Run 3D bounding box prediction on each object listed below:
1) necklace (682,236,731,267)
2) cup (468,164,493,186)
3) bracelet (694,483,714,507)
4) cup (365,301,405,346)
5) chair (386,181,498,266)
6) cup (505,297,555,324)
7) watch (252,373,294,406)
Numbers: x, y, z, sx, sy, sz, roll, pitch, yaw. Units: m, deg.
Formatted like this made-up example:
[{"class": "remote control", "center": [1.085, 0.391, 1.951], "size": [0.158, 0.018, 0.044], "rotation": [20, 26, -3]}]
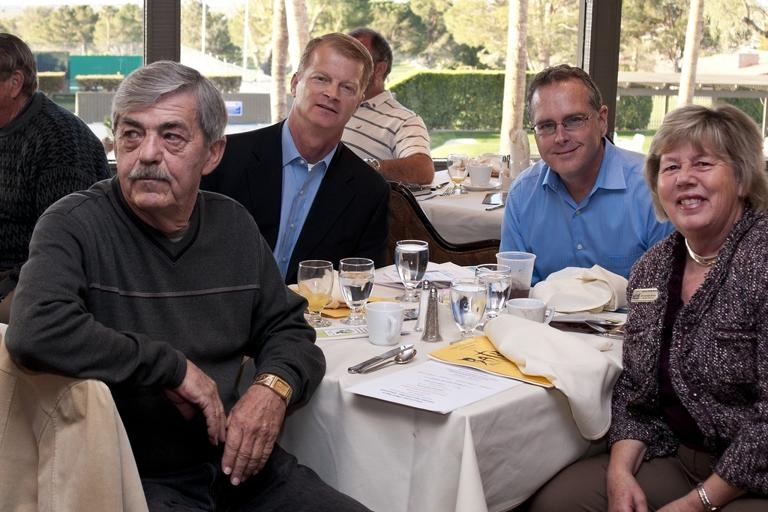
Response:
[{"class": "necklace", "center": [1.013, -0.013, 1.857], "size": [0.075, 0.017, 0.076], "rotation": [26, -15, 15]}, {"class": "cup", "center": [0.734, -0.605, 4.377], "size": [0.167, 0.135, 0.159], "rotation": [-3, 5, 0]}, {"class": "bracelet", "center": [0.881, 0.657, 1.609], "size": [0.037, 0.051, 0.056], "rotation": [-26, 36, -1]}, {"class": "cup", "center": [0.004, 0.212, 1.849], "size": [0.110, 0.099, 0.134], "rotation": [-1, 11, -11]}, {"class": "chair", "center": [0.277, -0.186, 3.531], "size": [0.564, 0.685, 0.477], "rotation": [-3, 19, -12]}, {"class": "cup", "center": [0.487, 0.168, 1.915], "size": [0.115, 0.080, 0.088], "rotation": [7, 8, 20]}, {"class": "watch", "center": [-0.309, 0.373, 1.658], "size": [0.091, 0.027, 0.095], "rotation": [34, -13, 13]}]
